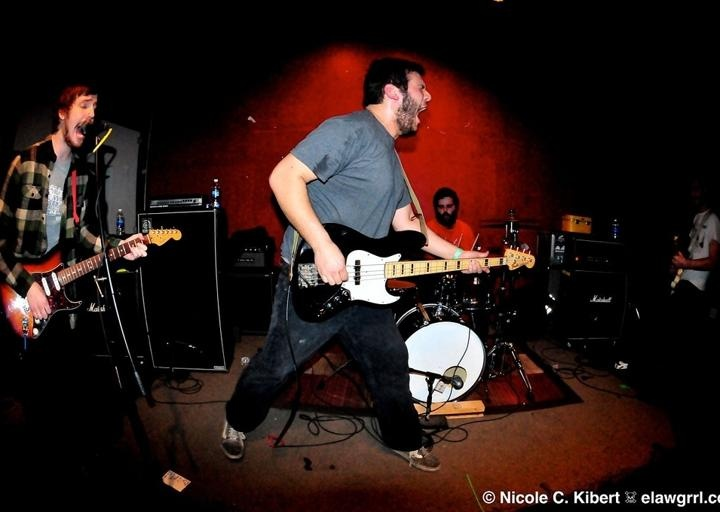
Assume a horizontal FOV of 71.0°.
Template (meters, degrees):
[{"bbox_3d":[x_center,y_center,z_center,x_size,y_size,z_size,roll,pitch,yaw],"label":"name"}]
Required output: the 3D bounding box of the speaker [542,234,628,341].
[{"bbox_3d":[2.751,0.424,6.136,0.763,1.186,0.749,0,5,-14],"label":"speaker"}]

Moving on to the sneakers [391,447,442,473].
[{"bbox_3d":[0.488,1.603,4.078,0.443,0.183,0.168,9,-7,6],"label":"sneakers"}]

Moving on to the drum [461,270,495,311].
[{"bbox_3d":[1.242,0.370,5.259,0.386,0.455,0.409,0,4,-3],"label":"drum"}]

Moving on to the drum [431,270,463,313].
[{"bbox_3d":[1.003,0.374,5.158,0.282,0.388,0.258,11,-6,1],"label":"drum"}]
